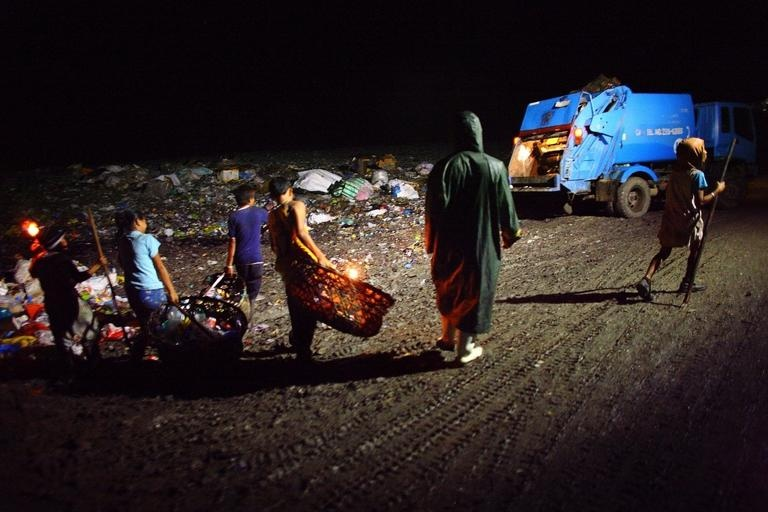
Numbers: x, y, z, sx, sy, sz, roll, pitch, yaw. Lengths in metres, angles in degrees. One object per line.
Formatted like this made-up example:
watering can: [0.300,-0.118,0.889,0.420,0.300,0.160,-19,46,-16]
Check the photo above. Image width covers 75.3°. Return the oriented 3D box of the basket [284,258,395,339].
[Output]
basket: [-0.434,0.463,5.110,0.994,0.360,0.808,30,-13,-26]

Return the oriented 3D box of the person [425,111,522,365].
person: [0.909,0.062,5.103,0.927,2.195,0.436,-1,16,4]

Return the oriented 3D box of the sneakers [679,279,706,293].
sneakers: [4.034,0.396,6.469,0.343,0.214,0.110,-11,10,8]

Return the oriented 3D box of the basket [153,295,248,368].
basket: [-2.037,0.772,6.135,1.258,0.485,1.424,14,8,-2]

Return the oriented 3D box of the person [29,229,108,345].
person: [-3.532,0.368,5.528,0.569,1.371,0.370,-12,19,-33]

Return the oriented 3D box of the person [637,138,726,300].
person: [3.805,-0.469,6.316,0.774,1.982,1.129,8,18,32]

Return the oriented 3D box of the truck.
truck: [5.845,-2.499,12.065,5.708,2.468,3.207,-4,13,-11]

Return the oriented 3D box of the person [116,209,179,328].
person: [-2.624,0.135,5.510,0.496,1.297,0.537,-10,17,-27]
